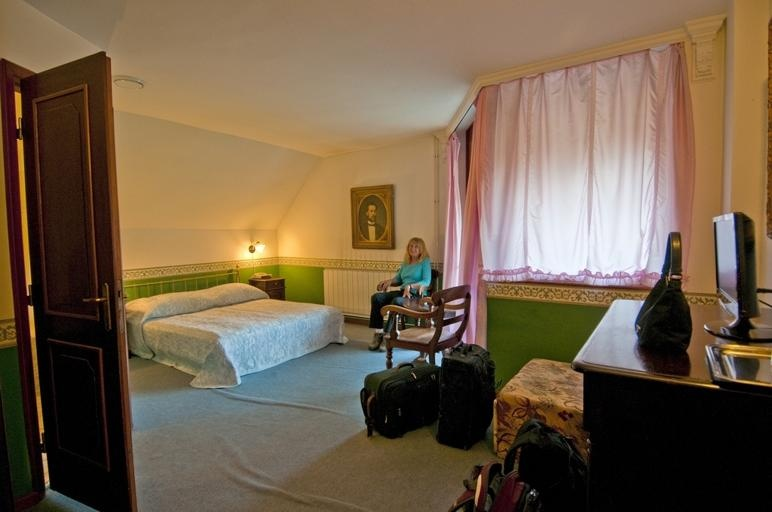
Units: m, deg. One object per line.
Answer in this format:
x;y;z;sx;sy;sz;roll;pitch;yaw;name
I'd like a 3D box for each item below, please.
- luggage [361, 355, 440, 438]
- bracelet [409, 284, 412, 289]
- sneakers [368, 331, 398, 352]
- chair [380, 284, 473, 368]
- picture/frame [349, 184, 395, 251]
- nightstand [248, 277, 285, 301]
0.154;1.195;4.638;0.811;0.583;0.490;-7;6;-37;luggage
0.288;0.365;6.273;0.023;0.040;0.036;-5;3;-27;bracelet
-0.094;1.003;6.305;0.147;0.181;0.451;-2;-14;11;sneakers
0.421;0.711;5.191;0.661;0.922;0.682;4;5;36;chair
-0.173;-0.534;7.303;0.854;1.040;0.073;3;7;41;picture/frame
-1.769;0.434;7.906;0.327;0.461;0.454;1;4;13;nightstand
